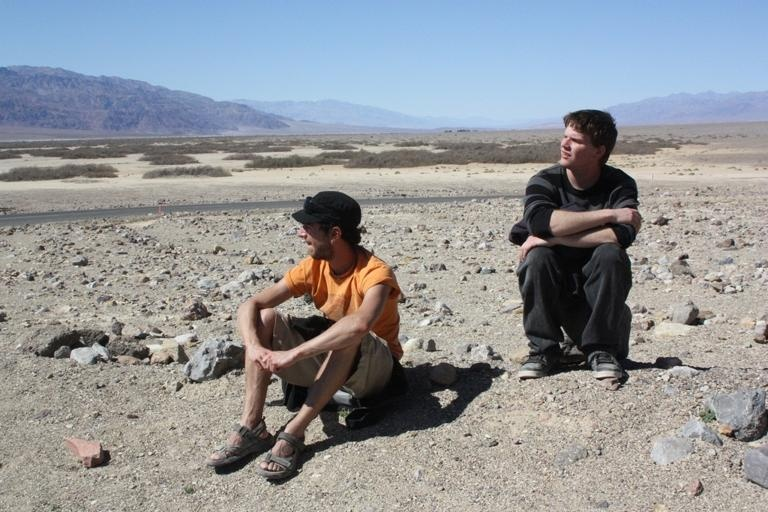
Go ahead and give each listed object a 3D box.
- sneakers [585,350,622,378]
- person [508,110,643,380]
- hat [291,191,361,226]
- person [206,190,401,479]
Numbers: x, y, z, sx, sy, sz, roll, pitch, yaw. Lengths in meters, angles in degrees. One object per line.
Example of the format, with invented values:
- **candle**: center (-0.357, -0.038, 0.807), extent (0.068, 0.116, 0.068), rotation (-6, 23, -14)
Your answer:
- **sneakers**: center (1.690, 0.842, 3.796), extent (0.269, 0.195, 0.208), rotation (5, 17, 21)
- **person**: center (1.537, -0.062, 3.898), extent (1.027, 2.107, 1.028), rotation (-4, 19, -8)
- **hat**: center (-0.426, -0.308, 3.784), extent (0.522, 0.187, 0.394), rotation (0, -11, 39)
- **person**: center (-0.548, 0.532, 3.714), extent (1.482, 1.992, 0.908), rotation (-8, 20, -21)
